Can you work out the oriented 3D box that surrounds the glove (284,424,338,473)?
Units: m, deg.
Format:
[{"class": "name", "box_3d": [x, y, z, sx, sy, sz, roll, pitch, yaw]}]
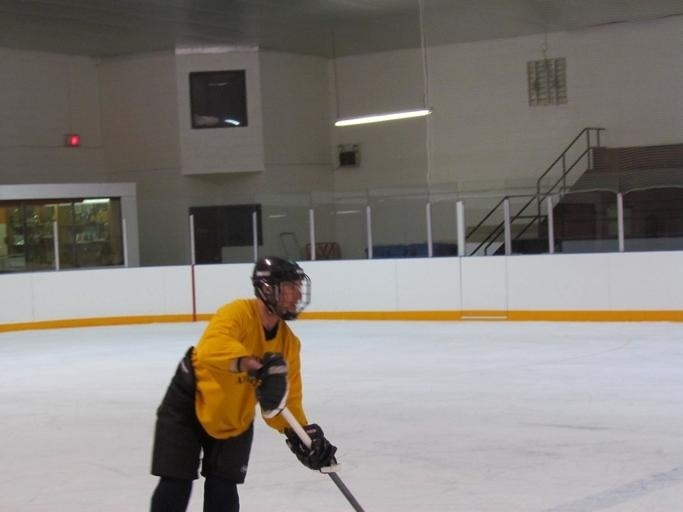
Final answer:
[{"class": "glove", "box_3d": [-0.235, 1.531, 7.219, 0.183, 0.429, 0.334, -51, -13, 20]}]

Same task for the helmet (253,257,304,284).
[{"class": "helmet", "box_3d": [-0.520, 0.118, 7.050, 0.325, 0.150, 0.219, -3, 1, -3]}]

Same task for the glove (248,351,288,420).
[{"class": "glove", "box_3d": [-0.535, 1.016, 6.928, 0.183, 0.442, 0.334, 9, 2, -44]}]
